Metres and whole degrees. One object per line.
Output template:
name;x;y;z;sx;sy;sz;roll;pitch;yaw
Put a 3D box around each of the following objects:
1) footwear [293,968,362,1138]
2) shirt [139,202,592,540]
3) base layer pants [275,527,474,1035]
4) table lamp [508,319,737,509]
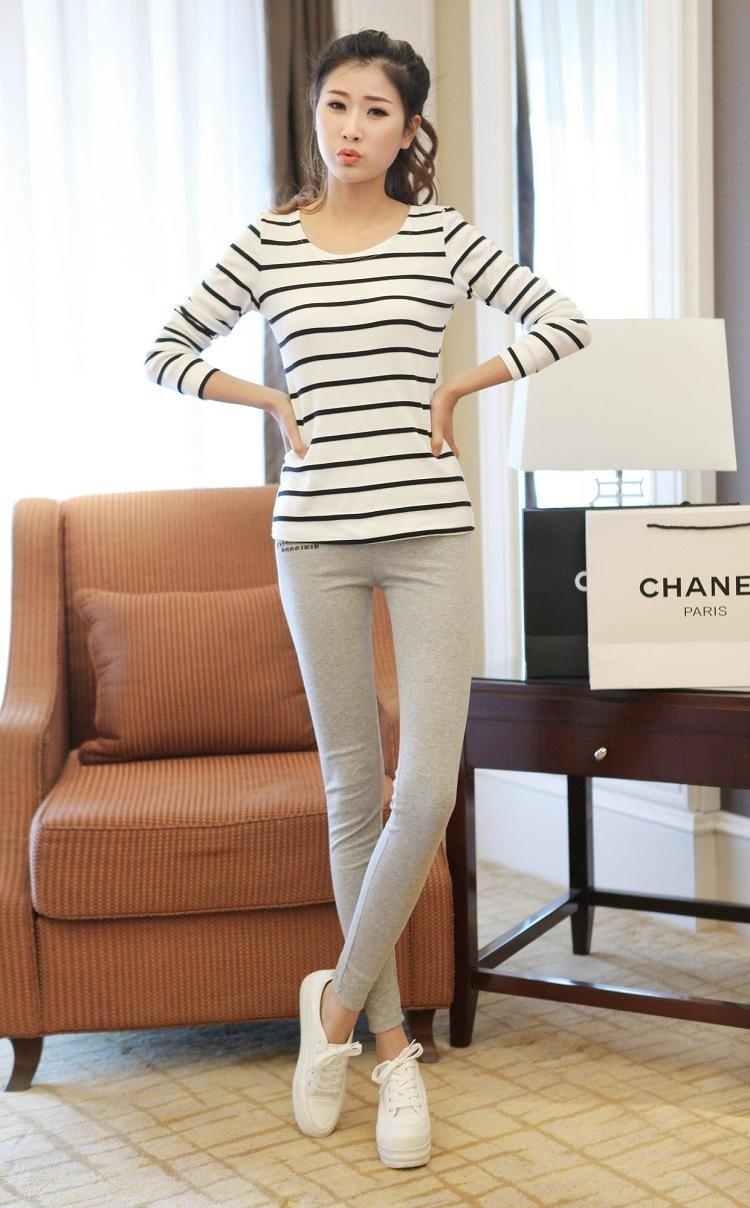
footwear;-0.066;0.597;1.445;0.078;0.244;0.095;6;-12;-19
shirt;-0.008;-0.286;1.301;0.547;0.438;0.166;-3;6;0
base layer pants;0.009;0.152;1.344;0.221;0.904;0.178;-3;-3;15
table lamp;0.492;-0.384;1.802;0.304;0.215;0.232;11;6;27
